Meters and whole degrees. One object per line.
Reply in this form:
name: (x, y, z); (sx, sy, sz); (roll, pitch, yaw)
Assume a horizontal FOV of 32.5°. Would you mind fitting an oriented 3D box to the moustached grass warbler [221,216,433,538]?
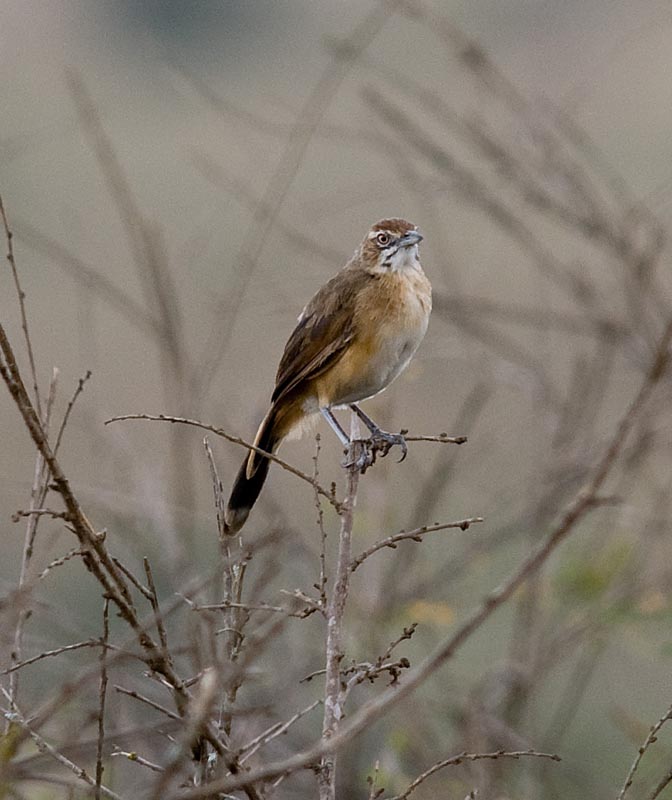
moustached grass warbler: (-0.001, -0.112, 3.722); (0.634, 0.991, 0.741); (-1, -3, 4)
